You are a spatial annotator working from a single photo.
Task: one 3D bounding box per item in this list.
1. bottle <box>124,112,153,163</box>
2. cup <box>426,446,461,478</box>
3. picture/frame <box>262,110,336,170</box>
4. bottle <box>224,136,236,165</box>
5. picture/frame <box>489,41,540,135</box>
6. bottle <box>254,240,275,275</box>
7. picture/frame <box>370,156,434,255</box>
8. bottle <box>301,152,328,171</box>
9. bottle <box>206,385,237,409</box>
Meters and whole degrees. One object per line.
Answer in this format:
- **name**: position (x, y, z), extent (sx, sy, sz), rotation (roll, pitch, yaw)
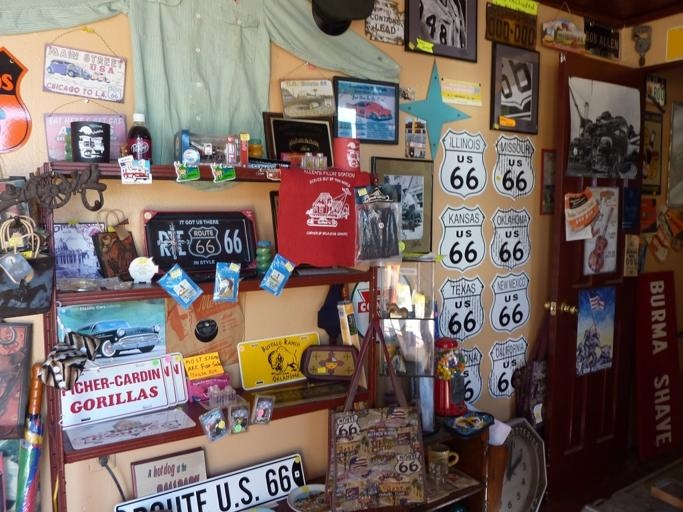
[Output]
- **bottle**: position (-0.811, -0.479, 2.073), extent (0.097, 0.193, 0.194), rotation (-6, 9, -19)
- **cup**: position (0.529, 1.063, 2.660), extent (0.143, 0.156, 0.098), rotation (2, 1, -5)
- **picture/frame**: position (-0.208, -0.535, 2.394), extent (0.294, 0.290, 0.023), rotation (-1, -1, -32)
- **bottle**: position (-0.451, -0.437, 2.127), extent (0.055, 0.120, 0.103), rotation (-5, 8, -12)
- **picture/frame**: position (1.023, -1.024, 3.097), extent (0.496, 0.692, 0.049), rotation (-3, 7, -33)
- **bottle**: position (-0.350, 0.000, 2.337), extent (0.075, 0.139, 0.118), rotation (-5, 8, -12)
- **picture/frame**: position (0.297, -0.274, 2.622), extent (0.438, 0.665, 0.044), rotation (-4, 7, -26)
- **bottle**: position (-0.120, -0.426, 2.320), extent (0.134, 0.077, 0.055), rotation (-8, 9, -24)
- **bottle**: position (-0.522, 0.614, 2.265), extent (0.119, 0.070, 0.189), rotation (-7, 10, -18)
